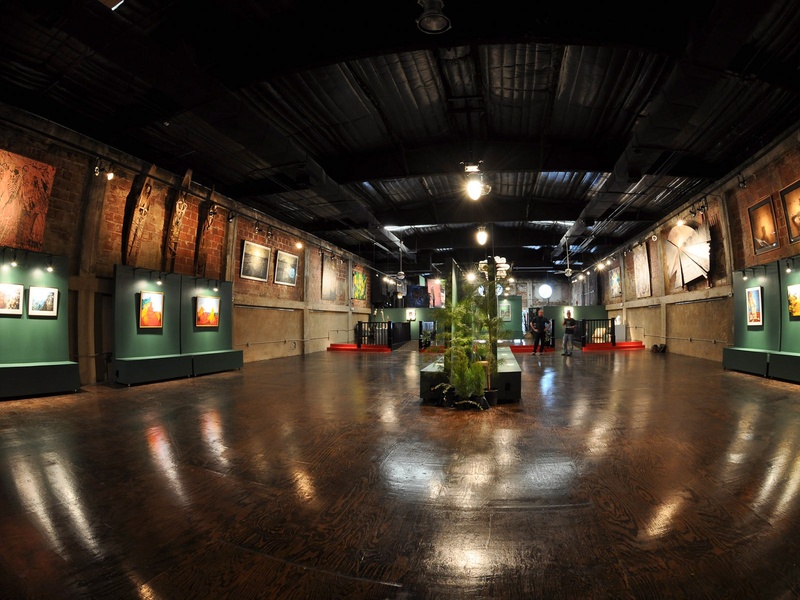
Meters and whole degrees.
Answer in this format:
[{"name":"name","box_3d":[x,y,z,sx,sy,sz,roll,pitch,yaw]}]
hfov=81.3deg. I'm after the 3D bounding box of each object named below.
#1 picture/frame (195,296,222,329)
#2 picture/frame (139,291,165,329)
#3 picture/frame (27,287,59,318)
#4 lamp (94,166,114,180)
[{"name":"picture/frame","box_3d":[-4.900,0.289,11.832,0.058,0.833,0.807,-1,0,28]},{"name":"picture/frame","box_3d":[-5.621,0.213,10.500,0.071,1.063,0.796,-4,-4,26]},{"name":"picture/frame","box_3d":[-6.901,0.018,8.968,0.053,0.720,0.578,-1,-1,38]},{"name":"lamp","box_3d":[-6.258,-2.681,9.884,0.341,0.227,0.124,35,5,14]}]
